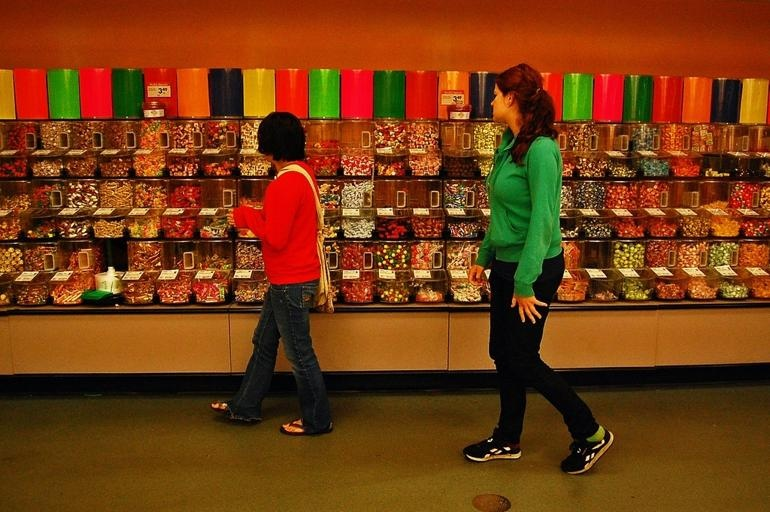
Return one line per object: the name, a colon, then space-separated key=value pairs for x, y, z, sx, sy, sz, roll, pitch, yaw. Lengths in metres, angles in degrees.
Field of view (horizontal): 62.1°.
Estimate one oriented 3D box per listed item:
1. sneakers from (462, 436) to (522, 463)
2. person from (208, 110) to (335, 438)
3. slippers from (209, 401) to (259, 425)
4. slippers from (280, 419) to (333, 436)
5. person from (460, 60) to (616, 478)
sneakers: x=0.740 y=1.358 z=4.450 sx=0.380 sy=0.168 sz=0.160 roll=1 pitch=3 yaw=-4
person: x=-0.781 y=0.141 z=4.662 sx=0.736 sy=2.359 sz=0.388 roll=-2 pitch=8 yaw=-1
slippers: x=-1.184 y=1.217 z=4.894 sx=0.403 sy=0.115 sz=0.158 roll=11 pitch=9 yaw=14
slippers: x=-0.589 y=1.251 z=4.765 sx=0.342 sy=0.100 sz=0.146 roll=2 pitch=-1 yaw=-10
person: x=0.947 y=0.120 z=4.210 sx=0.751 sy=2.719 sz=0.471 roll=5 pitch=11 yaw=39
